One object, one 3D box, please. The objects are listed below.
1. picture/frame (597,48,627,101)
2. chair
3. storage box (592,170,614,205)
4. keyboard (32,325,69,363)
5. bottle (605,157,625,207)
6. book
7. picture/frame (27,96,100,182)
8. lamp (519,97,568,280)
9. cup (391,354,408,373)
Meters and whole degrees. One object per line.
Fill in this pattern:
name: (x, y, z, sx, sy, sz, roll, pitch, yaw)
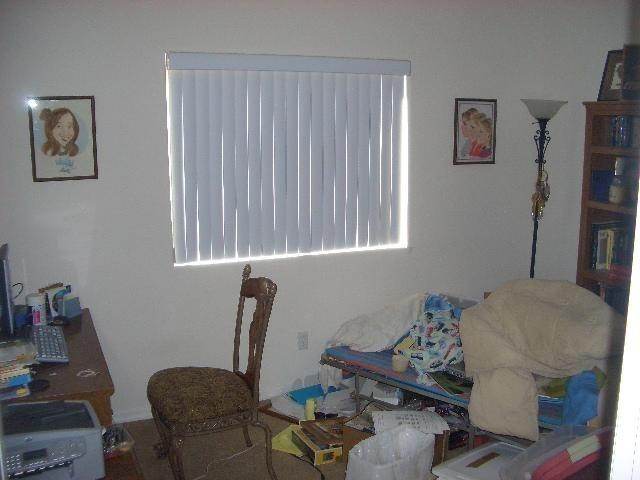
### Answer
picture/frame: (2.319, -1.305, 4.238, 0.151, 0.411, 0.309, -3, 7, -3)
chair: (-0.591, 0.823, 3.008, 0.704, 1.184, 0.428, -6, 8, -22)
storage box: (2.280, -0.428, 4.335, 0.254, 0.266, 0.151, -2, 3, -29)
keyboard: (-1.371, 0.520, 2.723, 0.105, 0.047, 0.327, -3, 22, -25)
bottle: (2.351, -0.473, 4.211, 0.176, 0.356, 0.184, -1, 7, 0)
book: (2.239, 0.193, 4.166, 0.196, 0.632, 0.637, 2, 6, 31)
picture/frame: (-1.654, -0.661, 3.413, 0.481, 0.692, 0.023, -5, 16, -17)
lamp: (1.844, -0.402, 4.432, 0.313, 1.514, 0.716, 0, 8, 21)
cup: (0.502, 0.773, 3.436, 0.089, 0.111, 0.089, -8, 15, 2)
